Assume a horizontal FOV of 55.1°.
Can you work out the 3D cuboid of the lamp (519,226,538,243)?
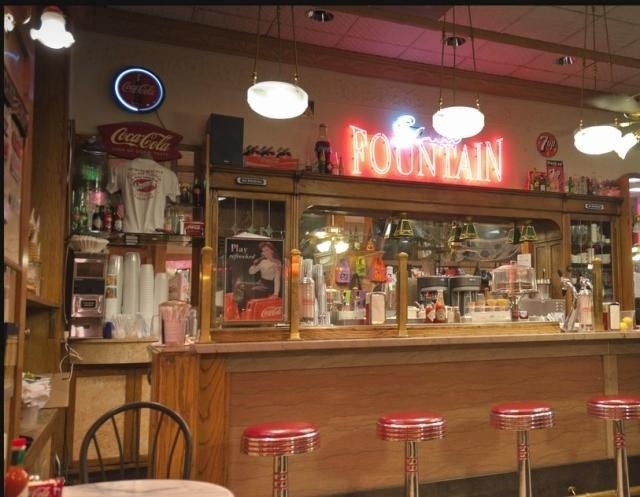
[{"bbox_3d":[2.751,-0.179,8.081,0.210,0.203,0.218,-1,-2,7],"label":"lamp"}]

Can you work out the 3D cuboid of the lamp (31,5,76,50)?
[{"bbox_3d":[-1.950,-1.650,4.474,0.259,0.396,0.399,2,-7,-19],"label":"lamp"}]

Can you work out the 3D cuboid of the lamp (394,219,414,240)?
[{"bbox_3d":[1.057,-0.222,7.515,0.254,0.241,0.217,1,-6,-13],"label":"lamp"}]

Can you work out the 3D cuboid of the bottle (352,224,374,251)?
[{"bbox_3d":[0.611,-0.150,8.726,0.363,0.404,0.359,0,-2,-10],"label":"bottle"}]

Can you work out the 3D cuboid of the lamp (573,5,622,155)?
[{"bbox_3d":[3.288,-1.727,7.302,0.436,1.753,2.796,-4,-7,25],"label":"lamp"}]

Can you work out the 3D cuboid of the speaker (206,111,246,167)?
[{"bbox_3d":[-1.037,-1.178,6.736,0.380,0.601,0.156,1,-7,-13],"label":"speaker"}]

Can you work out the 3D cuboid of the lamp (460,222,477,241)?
[{"bbox_3d":[1.870,-0.215,7.806,0.224,0.252,0.225,-1,-2,7],"label":"lamp"}]
